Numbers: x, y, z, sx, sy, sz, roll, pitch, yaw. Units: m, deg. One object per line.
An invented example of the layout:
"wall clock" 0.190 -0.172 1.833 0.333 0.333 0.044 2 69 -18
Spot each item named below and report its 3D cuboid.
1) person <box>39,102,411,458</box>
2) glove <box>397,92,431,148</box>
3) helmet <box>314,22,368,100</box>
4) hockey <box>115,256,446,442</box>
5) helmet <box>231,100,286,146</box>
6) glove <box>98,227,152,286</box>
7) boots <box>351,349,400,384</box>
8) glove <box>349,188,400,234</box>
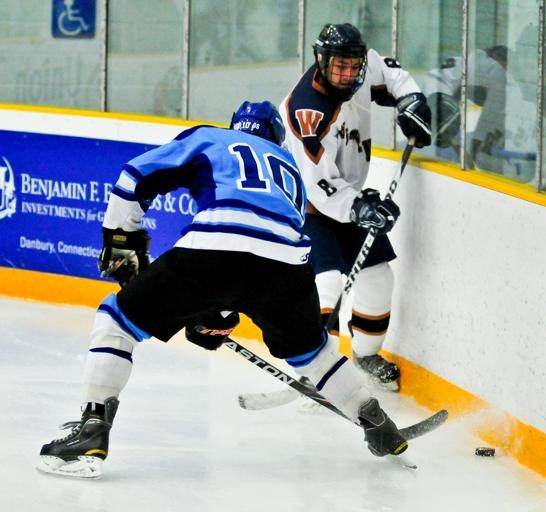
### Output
"person" -0.124 0.121 3.120 1.354 1.512 0.816 6 -7 -3
"glove" 0.625 -0.574 3.390 0.147 0.221 0.085 -24 -7 18
"helmet" 0.275 -0.796 3.214 0.218 0.314 0.169 4 10 5
"hockey" 0.073 0.366 3.014 0.875 0.238 0.262 33 7 3
"helmet" -0.050 -0.462 2.728 0.124 0.135 0.173 12 10 -3
"glove" -0.525 -0.007 2.782 0.186 0.207 0.097 10 24 -10
"boots" 0.468 0.506 3.598 0.165 0.072 0.125 28 11 29
"glove" 0.400 -0.179 3.138 0.192 0.090 0.147 37 16 -14
